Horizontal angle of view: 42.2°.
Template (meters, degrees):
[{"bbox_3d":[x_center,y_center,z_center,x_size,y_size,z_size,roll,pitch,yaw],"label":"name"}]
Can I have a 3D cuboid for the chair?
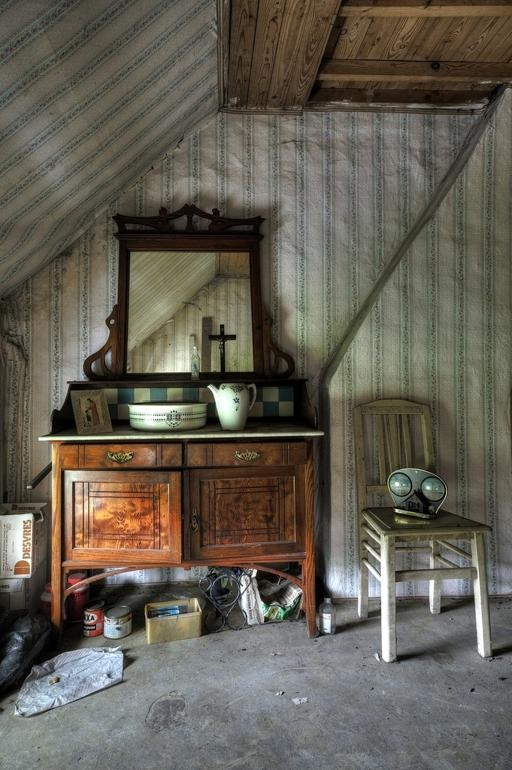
[{"bbox_3d":[0.709,0.589,2.891,0.519,0.949,0.775,0,10,1],"label":"chair"}]

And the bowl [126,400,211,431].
[{"bbox_3d":[-0.378,0.141,2.882,0.327,0.128,0.147,-2,10,-11],"label":"bowl"}]

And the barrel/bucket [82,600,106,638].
[{"bbox_3d":[-0.692,1.006,2.836,0.111,0.113,0.109,0,-5,0],"label":"barrel/bucket"}]

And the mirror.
[{"bbox_3d":[-0.389,-0.448,3.261,0.927,0.772,0.094,0,4,-2],"label":"mirror"}]

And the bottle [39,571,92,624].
[{"bbox_3d":[-0.824,0.969,2.983,0.256,0.230,0.250,1,-5,-9],"label":"bottle"}]

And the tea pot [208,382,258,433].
[{"bbox_3d":[-0.118,0.056,2.972,0.302,0.256,0.182,0,2,-12],"label":"tea pot"}]

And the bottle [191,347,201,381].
[{"bbox_3d":[-0.296,-0.110,3.227,0.042,0.154,0.035,-1,10,-6],"label":"bottle"}]
